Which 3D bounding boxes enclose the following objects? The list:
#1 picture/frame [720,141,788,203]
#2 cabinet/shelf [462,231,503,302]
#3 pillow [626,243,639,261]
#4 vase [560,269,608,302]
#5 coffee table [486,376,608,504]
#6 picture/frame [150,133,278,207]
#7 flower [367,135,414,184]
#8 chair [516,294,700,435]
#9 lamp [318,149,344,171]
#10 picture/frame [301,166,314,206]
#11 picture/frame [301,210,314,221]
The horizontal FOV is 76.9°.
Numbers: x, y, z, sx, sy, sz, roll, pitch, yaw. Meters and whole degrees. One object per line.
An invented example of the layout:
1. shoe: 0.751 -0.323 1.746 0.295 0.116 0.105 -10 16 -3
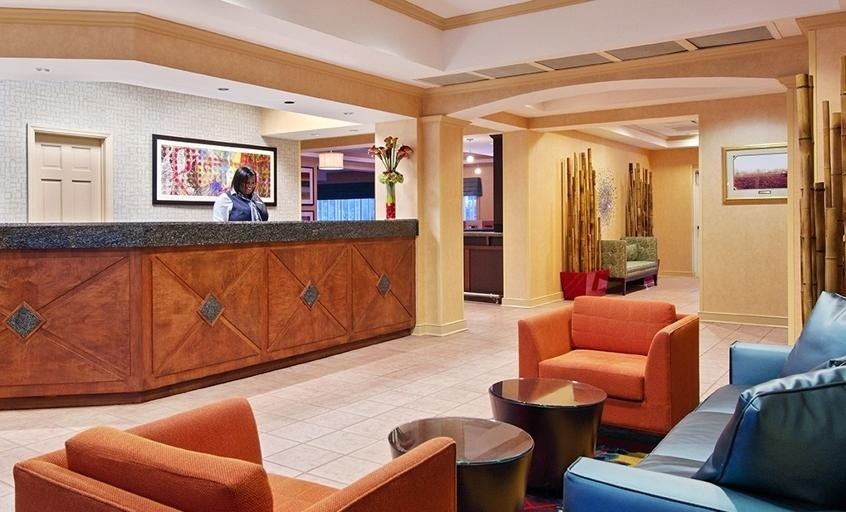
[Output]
1. picture/frame: 5.013 -1.257 8.013 1.250 0.800 0.090 -1 -5 23
2. cabinet/shelf: 1.147 0.197 10.127 0.893 1.336 0.295 5 10 39
3. pillow: 4.830 -0.098 12.414 0.407 0.363 0.185 1 -3 -6
4. vase: 3.140 0.531 10.399 1.350 0.647 0.860 3 -5 -37
5. coffee table: 0.822 1.292 3.788 0.856 0.541 0.701 3 -2 -1
6. picture/frame: -3.160 -1.304 7.869 0.058 0.732 1.616 0 0 45
7. flower: -0.448 -1.381 7.801 0.767 0.681 0.672 1 3 25
8. chair: 1.654 0.870 4.675 1.299 0.796 0.927 0 8 39
9. lamp: -2.197 -2.217 12.370 0.695 0.387 0.659 2 3 18
10. picture/frame: -3.122 -1.933 14.617 0.368 1.061 0.436 -2 8 -11
11. picture/frame: -3.162 -1.184 14.816 0.338 0.247 0.618 -2 7 -11
